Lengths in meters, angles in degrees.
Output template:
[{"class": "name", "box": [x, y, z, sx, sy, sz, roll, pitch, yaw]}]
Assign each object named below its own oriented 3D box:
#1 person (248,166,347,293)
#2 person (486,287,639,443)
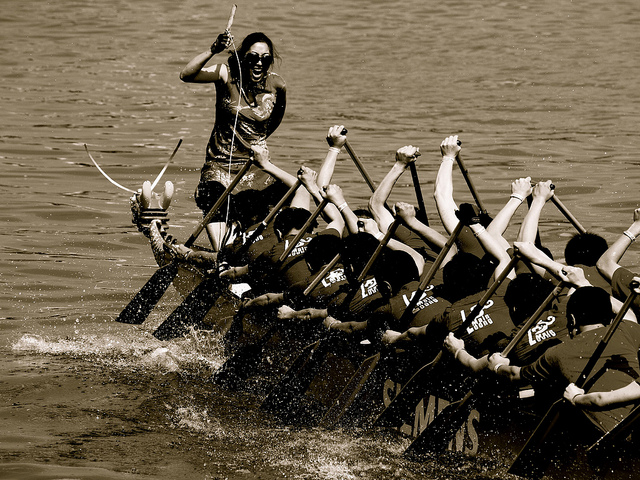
[{"class": "person", "box": [-0.278, -0.072, 15.915, 1.014, 1.509, 0.547, 7, 0, 0]}, {"class": "person", "box": [2.642, 1.096, 13.728, 1.412, 1.214, 0.633, 18, 21, 19]}]
